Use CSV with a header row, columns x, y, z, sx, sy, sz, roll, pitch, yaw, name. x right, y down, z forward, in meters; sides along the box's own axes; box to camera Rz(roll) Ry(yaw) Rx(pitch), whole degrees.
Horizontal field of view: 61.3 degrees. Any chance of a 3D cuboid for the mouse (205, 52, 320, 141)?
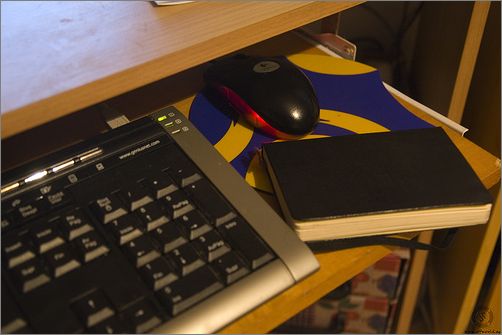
x,y,z,sx,sy,sz,roll,pitch,yaw,name
0.021,-0.144,0.743,0.141,0.081,0.243,-24,48,-27,mouse
